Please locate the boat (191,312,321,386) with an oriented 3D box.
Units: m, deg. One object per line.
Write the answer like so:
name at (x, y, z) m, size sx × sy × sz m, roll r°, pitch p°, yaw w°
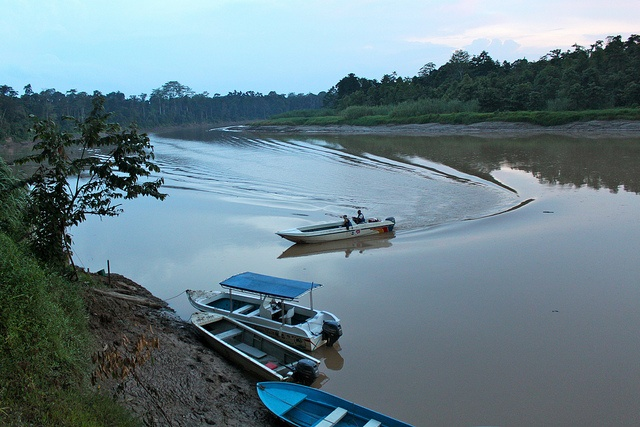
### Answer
boat at (-2.667, 5.052, 16.356) m, size 5.509 × 1.134 × 1.789 m, roll 18°, pitch 24°, yaw 30°
